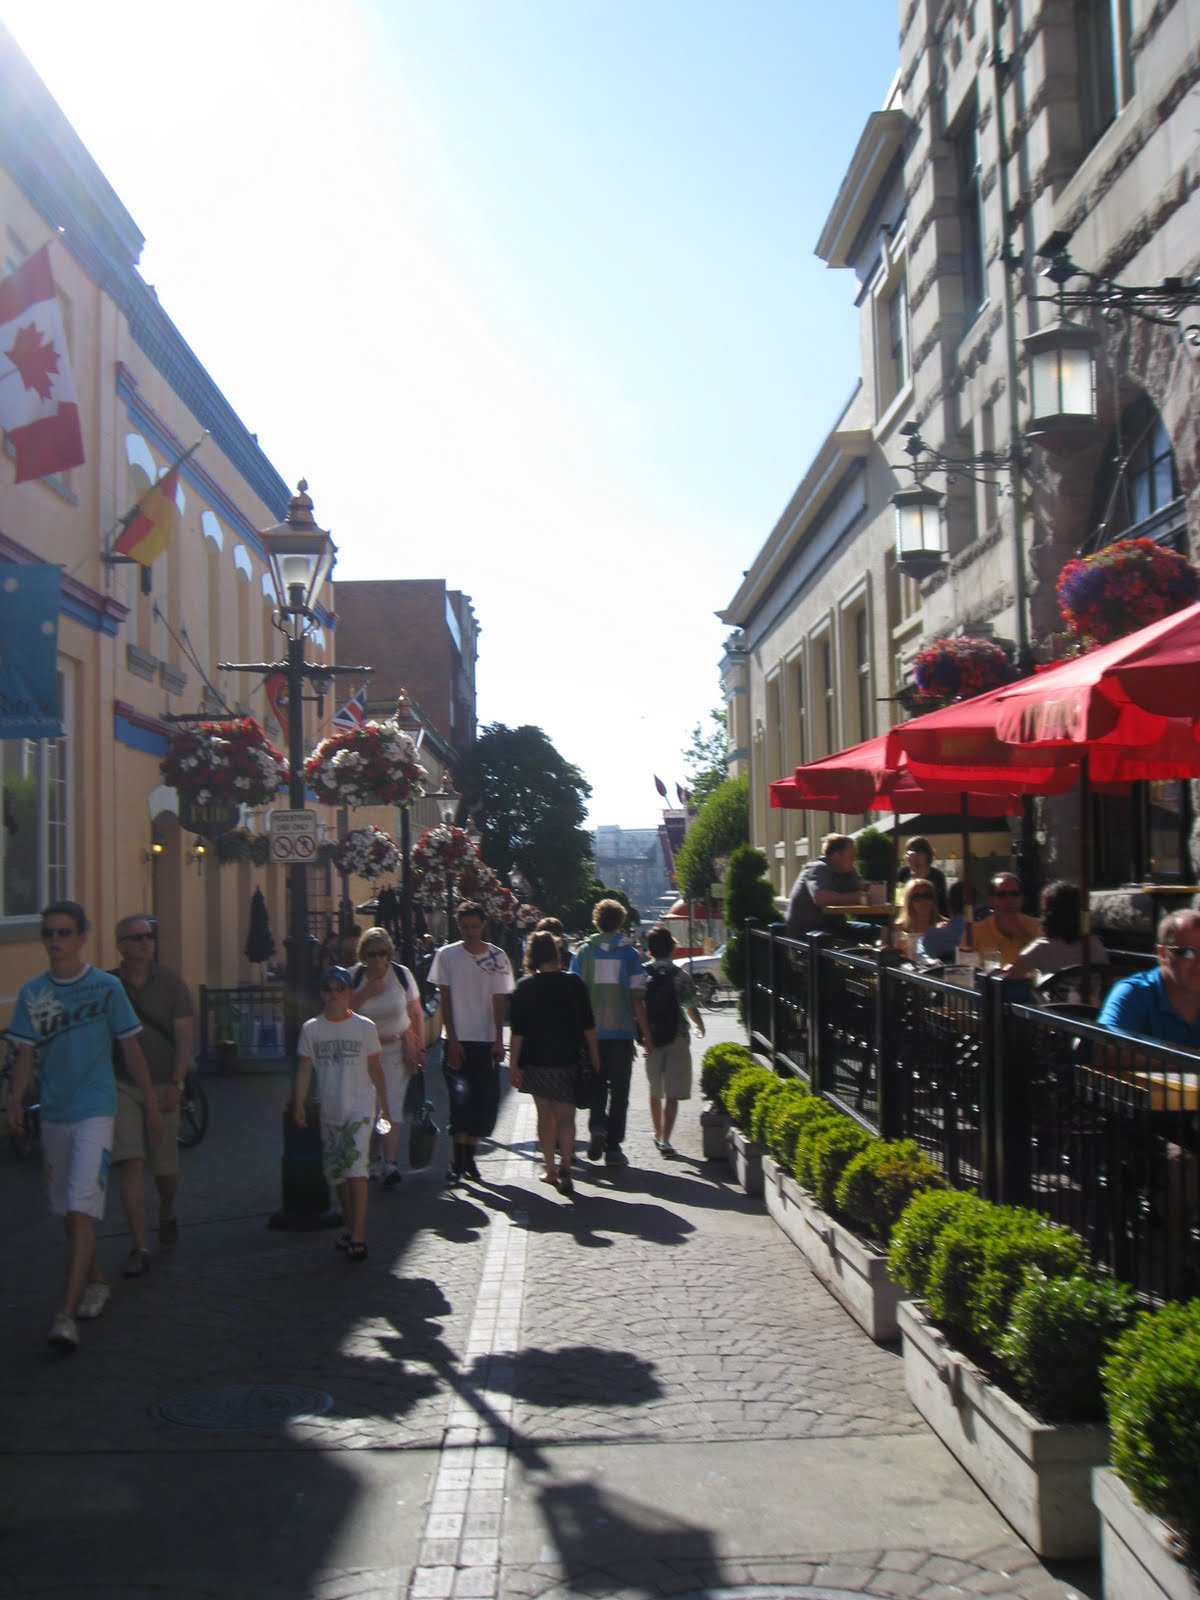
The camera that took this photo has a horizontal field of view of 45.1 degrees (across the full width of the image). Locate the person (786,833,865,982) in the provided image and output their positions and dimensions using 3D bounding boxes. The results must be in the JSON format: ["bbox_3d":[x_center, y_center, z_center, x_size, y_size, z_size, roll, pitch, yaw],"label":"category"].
[{"bbox_3d":[1.873,0.726,12.092,0.575,0.846,1.126,-4,-8,19],"label":"person"}]

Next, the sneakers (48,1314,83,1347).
[{"bbox_3d":[-2.097,2.096,5.654,0.105,0.124,0.140,1,-8,-20],"label":"sneakers"}]

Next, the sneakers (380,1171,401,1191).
[{"bbox_3d":[-1.466,2.686,10.157,0.073,0.126,0.079,1,32,-1],"label":"sneakers"}]

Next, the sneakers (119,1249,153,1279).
[{"bbox_3d":[-2.358,2.353,7.325,0.073,0.103,0.222,2,-1,-8],"label":"sneakers"}]

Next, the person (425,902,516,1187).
[{"bbox_3d":[-0.932,1.766,10.738,0.604,2.022,0.543,2,-8,-26],"label":"person"}]

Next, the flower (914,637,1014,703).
[{"bbox_3d":[3.194,-1.125,12.752,0.659,0.423,0.622,-2,1,9],"label":"flower"}]

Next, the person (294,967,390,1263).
[{"bbox_3d":[-1.439,1.714,8.062,0.495,1.517,0.949,1,-7,-14],"label":"person"}]

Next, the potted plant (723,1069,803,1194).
[{"bbox_3d":[0.961,2.219,9.715,0.628,0.763,0.657,3,-11,18],"label":"potted plant"}]

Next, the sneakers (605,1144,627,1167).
[{"bbox_3d":[0.132,2.737,11.058,0.169,0.149,0.285,-1,-7,0],"label":"sneakers"}]

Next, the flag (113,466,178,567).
[{"bbox_3d":[-5.570,-3.495,17.657,0.671,1.248,0.910,1,-8,-18],"label":"flag"}]

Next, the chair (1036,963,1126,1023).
[{"bbox_3d":[1.895,0.759,5.663,0.276,0.356,0.252,-1,8,1],"label":"chair"}]

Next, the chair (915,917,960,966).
[{"bbox_3d":[2.213,0.908,9.398,0.291,0.322,1.595,-3,-8,13],"label":"chair"}]

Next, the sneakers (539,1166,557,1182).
[{"bbox_3d":[-0.338,2.611,10.020,0.061,0.127,0.315,0,-8,-10],"label":"sneakers"}]

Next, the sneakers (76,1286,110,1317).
[{"bbox_3d":[-2.220,2.216,6.347,0.057,0.059,0.152,7,19,-9],"label":"sneakers"}]

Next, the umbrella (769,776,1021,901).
[{"bbox_3d":[2.689,0.072,13.691,1.818,0.677,1.730,1,2,-43],"label":"umbrella"}]

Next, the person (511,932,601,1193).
[{"bbox_3d":[-0.331,1.832,10.282,0.607,1.782,0.984,-1,-7,-3],"label":"person"}]

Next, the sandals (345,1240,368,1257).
[{"bbox_3d":[-1.282,2.369,7.597,0.107,0.087,0.140,0,-7,-10],"label":"sandals"}]
